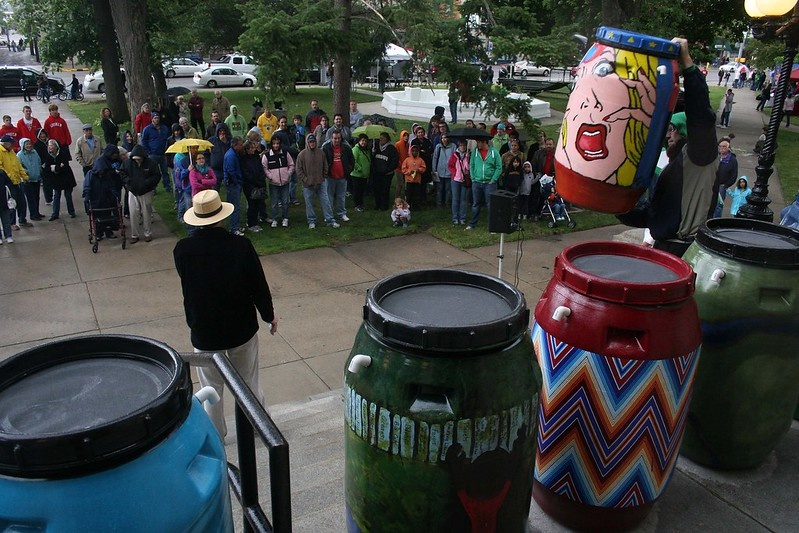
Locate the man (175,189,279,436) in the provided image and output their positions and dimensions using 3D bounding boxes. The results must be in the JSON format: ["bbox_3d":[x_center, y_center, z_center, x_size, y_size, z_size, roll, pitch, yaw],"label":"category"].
[{"bbox_3d":[-1.827,0.544,6.972,0.923,2.823,0.931,-1,21,-9],"label":"man"}]

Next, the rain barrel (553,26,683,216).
[{"bbox_3d":[1.799,-1.204,5.443,0.881,1.402,0.895,9,19,-3],"label":"rain barrel"}]

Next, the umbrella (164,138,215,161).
[{"bbox_3d":[-4.475,-2.565,13.866,0.817,0.344,0.716,8,22,19],"label":"umbrella"}]

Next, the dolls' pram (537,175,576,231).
[{"bbox_3d":[3.609,-1.543,15.182,0.807,1.282,1.068,-2,12,-22],"label":"dolls' pram"}]

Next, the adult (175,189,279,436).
[{"bbox_3d":[-1.830,0.557,7.011,0.994,2.840,0.957,-7,20,-24],"label":"adult"}]
